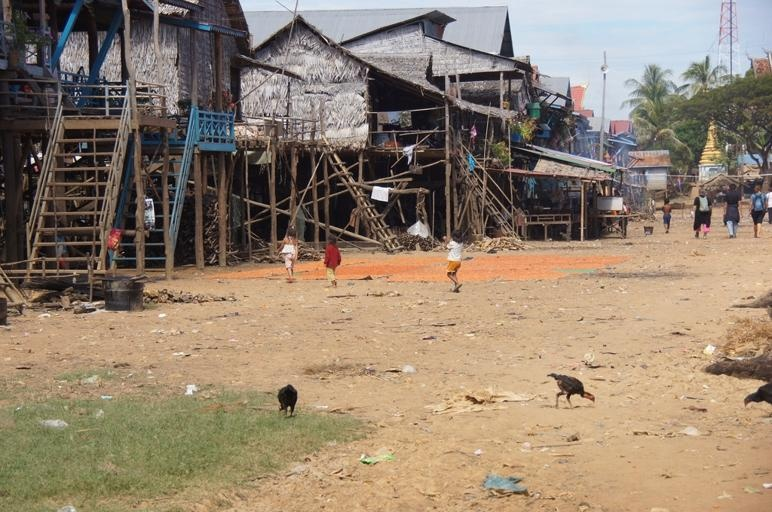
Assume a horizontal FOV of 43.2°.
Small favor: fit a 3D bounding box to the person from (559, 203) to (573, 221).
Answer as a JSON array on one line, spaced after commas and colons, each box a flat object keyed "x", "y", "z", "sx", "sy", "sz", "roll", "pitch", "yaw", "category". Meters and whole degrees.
[{"x": 7.832, "y": -1.891, "z": 42.578, "sx": 0.685, "sy": 0.707, "sz": 1.079, "roll": 3, "pitch": 3, "yaw": 13, "category": "person"}]

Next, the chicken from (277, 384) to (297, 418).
[{"x": -1.546, "y": 2.308, "z": 15.611, "sx": 0.283, "sy": 0.436, "sz": 0.859, "roll": 0, "pitch": -9, "yaw": -3, "category": "chicken"}]

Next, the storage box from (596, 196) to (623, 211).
[{"x": 9.371, "y": -2.199, "z": 41.044, "sx": 0.480, "sy": 0.536, "sz": 1.394, "roll": -1, "pitch": 1, "yaw": -35, "category": "storage box"}]

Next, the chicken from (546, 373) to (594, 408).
[{"x": 3.023, "y": 2.190, "z": 15.831, "sx": 0.681, "sy": 0.519, "sz": 0.638, "roll": 0, "pitch": 1, "yaw": 15, "category": "chicken"}]

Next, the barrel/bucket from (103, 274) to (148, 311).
[{"x": -5.680, "y": 0.832, "z": 21.198, "sx": 0.857, "sy": 0.579, "sz": 0.678, "roll": 0, "pitch": 1, "yaw": -26, "category": "barrel/bucket"}]
